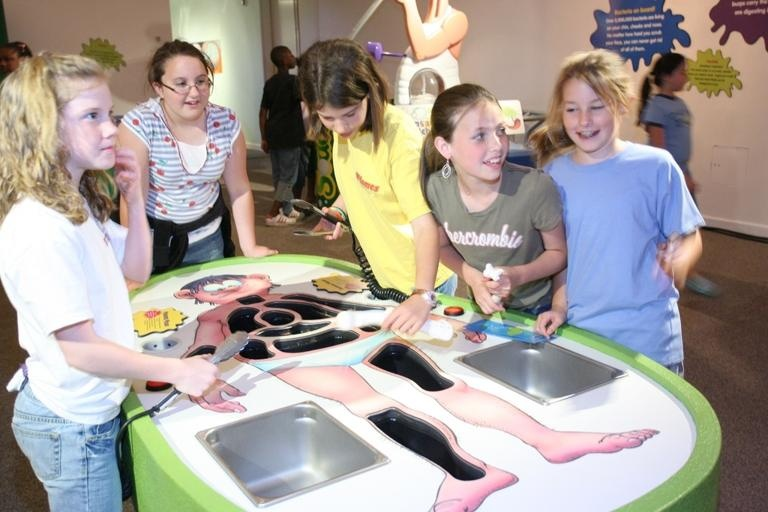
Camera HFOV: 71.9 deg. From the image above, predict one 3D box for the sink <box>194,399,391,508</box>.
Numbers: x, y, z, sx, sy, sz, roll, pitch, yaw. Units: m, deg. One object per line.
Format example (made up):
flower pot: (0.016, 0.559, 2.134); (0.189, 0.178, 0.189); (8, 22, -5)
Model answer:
sink: (-0.256, 0.513, 1.412); (0.322, 0.193, 0.315); (-11, 17, -30)

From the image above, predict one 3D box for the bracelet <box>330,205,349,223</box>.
bracelet: (-0.188, -0.182, 2.433); (0.086, 0.083, 0.083); (6, 22, -20)

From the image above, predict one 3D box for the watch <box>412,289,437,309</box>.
watch: (0.142, 0.149, 1.863); (0.067, 0.044, 0.075); (20, 4, -39)

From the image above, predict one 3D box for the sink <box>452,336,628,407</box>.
sink: (0.538, 0.329, 1.682); (0.251, 0.119, 0.310); (-9, 11, -28)
